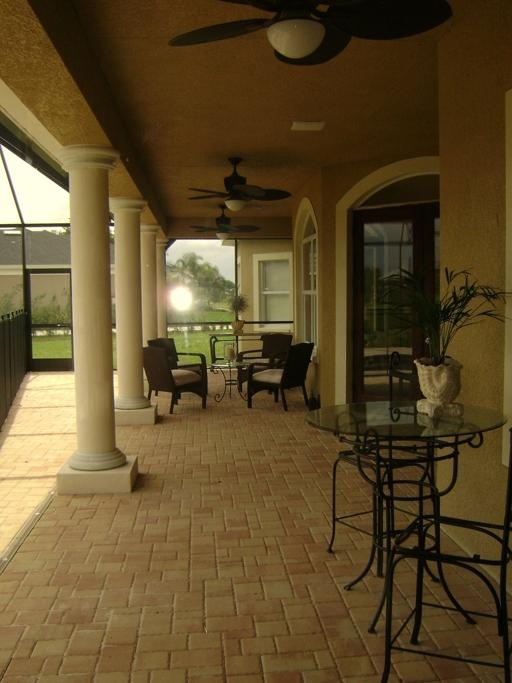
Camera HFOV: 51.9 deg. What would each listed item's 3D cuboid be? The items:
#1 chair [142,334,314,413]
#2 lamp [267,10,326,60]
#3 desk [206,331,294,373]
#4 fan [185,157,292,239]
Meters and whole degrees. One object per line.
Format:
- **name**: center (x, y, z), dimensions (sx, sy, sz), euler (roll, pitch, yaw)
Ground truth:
- **chair**: center (-0.367, 0.457, 7.727), dimensions (2.424, 0.943, 1.788), euler (0, 2, 5)
- **lamp**: center (0.145, -1.113, 1.922), dimensions (0.164, 0.092, 0.208), euler (-1, 2, -32)
- **desk**: center (-0.154, 0.128, 9.597), dimensions (1.194, 0.603, 1.061), euler (-2, 3, -5)
- **fan**: center (-0.230, -1.797, 6.586), dimensions (1.281, 0.797, 1.270), euler (1, 2, 5)
